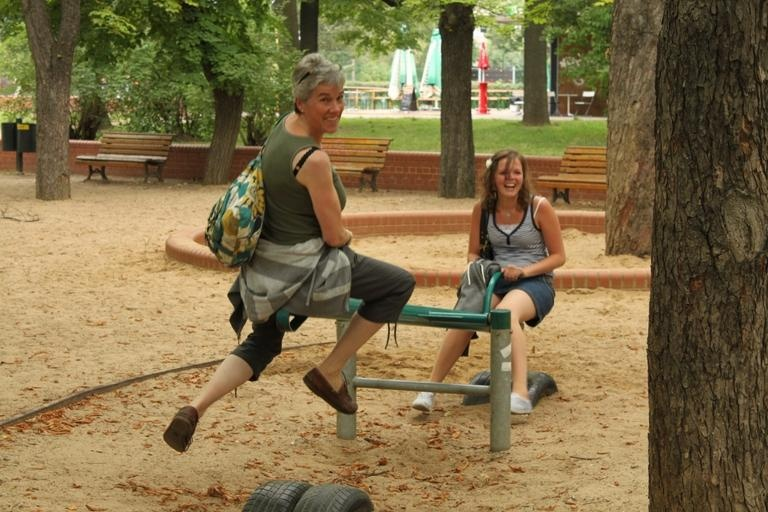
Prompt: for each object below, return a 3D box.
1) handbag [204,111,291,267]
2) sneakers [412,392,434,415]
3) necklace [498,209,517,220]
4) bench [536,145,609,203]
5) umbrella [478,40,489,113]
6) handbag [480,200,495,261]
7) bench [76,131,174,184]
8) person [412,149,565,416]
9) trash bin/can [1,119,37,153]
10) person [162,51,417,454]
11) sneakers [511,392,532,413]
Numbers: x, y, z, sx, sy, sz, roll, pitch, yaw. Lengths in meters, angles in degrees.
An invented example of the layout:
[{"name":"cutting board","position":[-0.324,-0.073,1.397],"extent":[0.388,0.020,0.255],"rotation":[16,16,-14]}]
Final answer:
[{"name":"handbag","position":[-0.919,-0.334,6.322],"extent":[0.407,0.799,0.255],"rotation":[-1,10,-6]},{"name":"sneakers","position":[0.304,1.112,7.593],"extent":[0.118,0.113,0.294],"rotation":[7,-5,11]},{"name":"necklace","position":[0.972,-0.328,8.050],"extent":[0.136,0.081,0.036],"rotation":[-1,-4,12]},{"name":"bench","position":[3.296,-1.376,17.499],"extent":[0.835,0.930,1.768],"rotation":[-9,8,-42]},{"name":"umbrella","position":[3.918,-7.085,40.416],"extent":[0.712,2.814,0.628],"rotation":[1,11,10]},{"name":"handbag","position":[0.813,-0.186,8.096],"extent":[0.106,0.323,0.262],"rotation":[2,2,15]},{"name":"bench","position":[-5.422,-2.082,21.180],"extent":[2.099,0.980,1.425],"rotation":[2,9,14]},{"name":"person","position":[1.083,0.165,7.863],"extent":[0.714,1.948,0.922],"rotation":[-2,10,-9]},{"name":"trash bin/can","position":[-8.009,-2.589,22.003],"extent":[0.801,0.608,0.499],"rotation":[-1,9,-4]},{"name":"person","position":[-0.560,-0.025,6.405],"extent":[1.502,2.482,0.433],"rotation":[-2,10,-10]},{"name":"sneakers","position":[1.018,1.113,7.505],"extent":[0.166,0.181,0.120],"rotation":[-1,9,-5]}]
